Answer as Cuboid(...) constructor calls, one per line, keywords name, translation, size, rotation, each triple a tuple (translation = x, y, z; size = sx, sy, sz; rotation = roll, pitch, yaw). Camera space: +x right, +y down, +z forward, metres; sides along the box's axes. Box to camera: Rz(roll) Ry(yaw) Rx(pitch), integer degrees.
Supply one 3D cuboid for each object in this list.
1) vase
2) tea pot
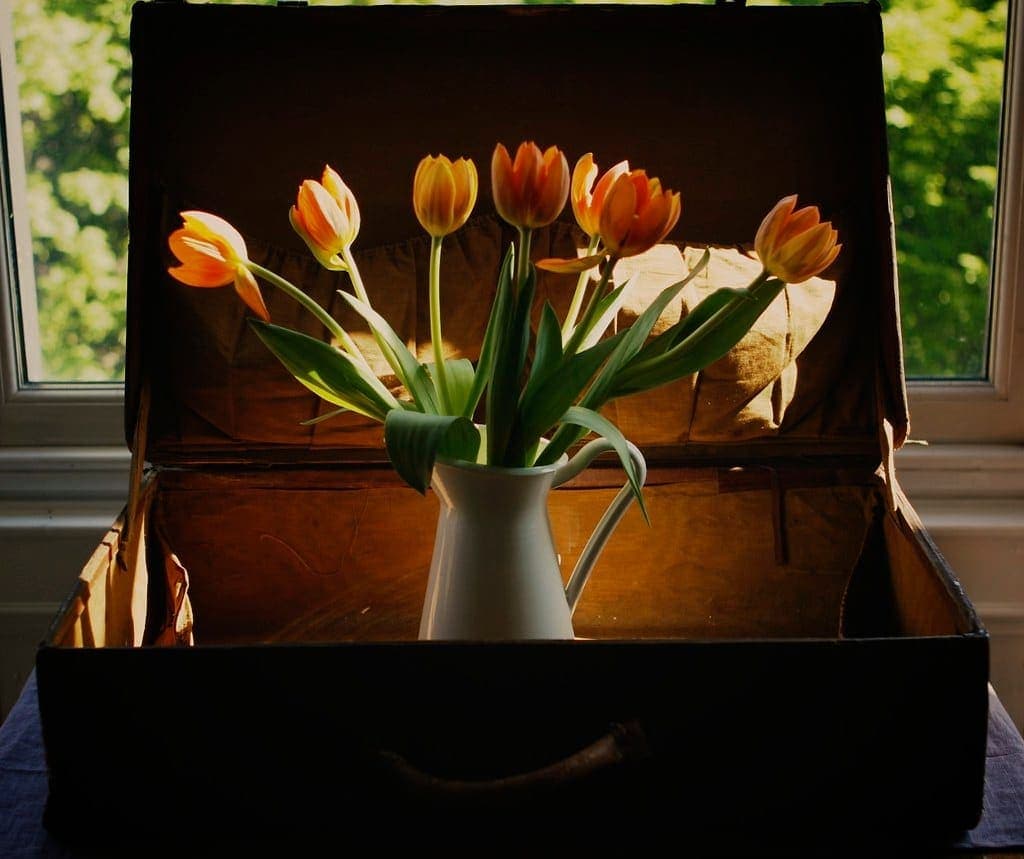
Cuboid(name="vase", translation=(0.017, 0.095, 0.743), size=(0.169, 0.187, 0.111), rotation=(-5, 15, -11))
Cuboid(name="tea pot", translation=(-0.006, 0.080, 0.790), size=(0.170, 0.184, 0.113), rotation=(-2, 2, -23))
